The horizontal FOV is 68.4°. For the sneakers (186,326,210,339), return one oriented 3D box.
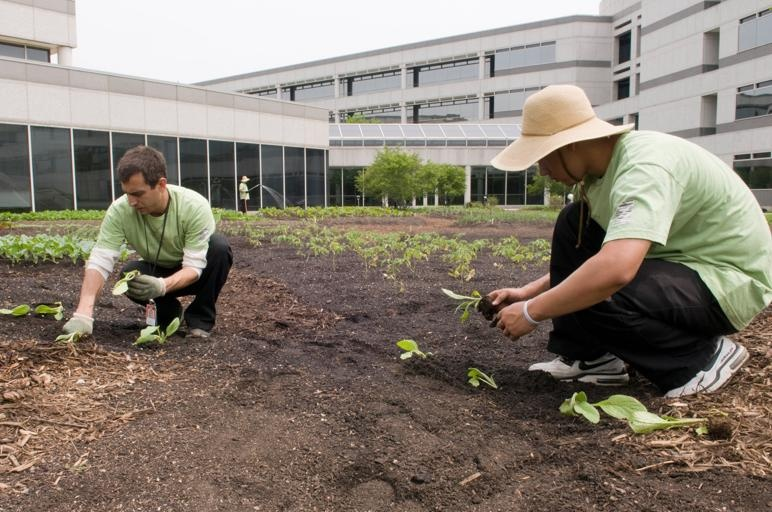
[{"bbox_3d":[-1.495,0.604,4.482,0.132,0.042,0.094,1,0,22],"label":"sneakers"}]

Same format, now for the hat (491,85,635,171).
[{"bbox_3d":[0.980,-0.745,3.376,0.637,0.303,0.686,-16,8,28],"label":"hat"}]

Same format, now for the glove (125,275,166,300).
[{"bbox_3d":[-1.783,0.242,4.226,0.253,0.162,0.246,1,-9,-1],"label":"glove"}]

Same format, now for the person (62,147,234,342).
[{"bbox_3d":[-1.785,-0.083,4.392,1.109,1.493,0.702,-5,13,-18],"label":"person"}]

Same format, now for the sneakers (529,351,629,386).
[{"bbox_3d":[1.229,0.720,3.792,0.665,0.269,0.206,3,-4,12],"label":"sneakers"}]
